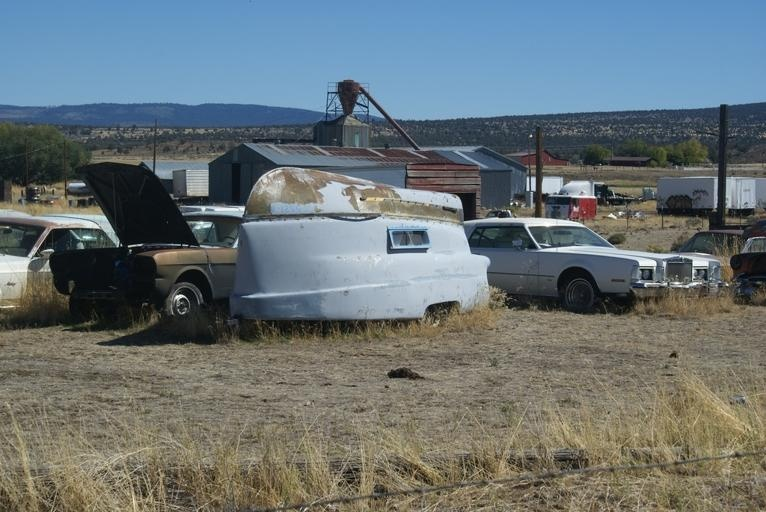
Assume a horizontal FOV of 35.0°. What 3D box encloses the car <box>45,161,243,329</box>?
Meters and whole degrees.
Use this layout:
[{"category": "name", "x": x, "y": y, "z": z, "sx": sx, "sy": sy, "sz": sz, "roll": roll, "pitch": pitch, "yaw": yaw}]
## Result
[{"category": "car", "x": -3.618, "y": -0.202, "z": 21.054, "sx": 2.008, "sy": 2.161, "sz": 3.509, "roll": 0, "pitch": 1, "yaw": 27}]
